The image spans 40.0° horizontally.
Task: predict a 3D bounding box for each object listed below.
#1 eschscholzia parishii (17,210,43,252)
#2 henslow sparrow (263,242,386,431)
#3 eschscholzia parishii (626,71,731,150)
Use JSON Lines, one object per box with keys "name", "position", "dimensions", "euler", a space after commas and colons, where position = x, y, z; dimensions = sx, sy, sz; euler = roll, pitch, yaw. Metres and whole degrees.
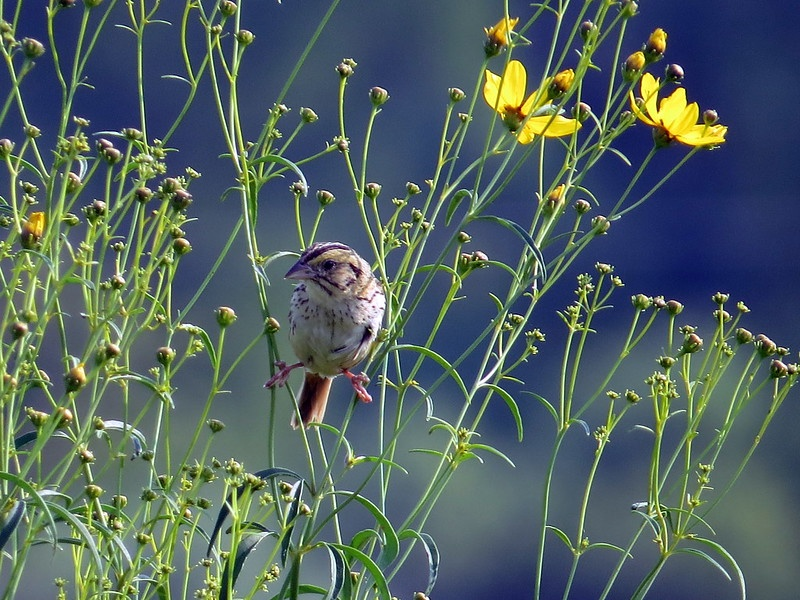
{"name": "eschscholzia parishii", "position": [-0.690, -0.132, 2.058], "dimensions": [0.048, 0.081, 0.043], "euler": [15, -30, -5]}
{"name": "henslow sparrow", "position": [-0.170, 0.047, 2.968], "dimensions": [0.238, 0.421, 0.696], "euler": [9, 1, 2]}
{"name": "eschscholzia parishii", "position": [0.559, -0.375, 2.303], "dimensions": [0.153, 0.076, 0.144], "euler": [28, -7, 36]}
